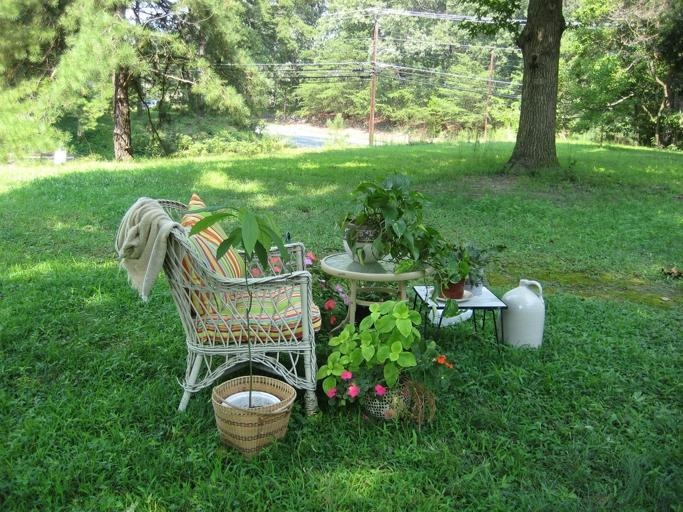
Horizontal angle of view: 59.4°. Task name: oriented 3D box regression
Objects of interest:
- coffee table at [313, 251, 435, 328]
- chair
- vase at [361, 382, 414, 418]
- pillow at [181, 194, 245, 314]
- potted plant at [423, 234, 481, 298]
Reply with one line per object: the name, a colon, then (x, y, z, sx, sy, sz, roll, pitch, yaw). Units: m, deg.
coffee table: (0.313, 0.375, 5.354, 0.764, 0.593, 0.825, 4, 10, 14)
chair: (-0.790, 0.499, 5.444, 1.440, 2.026, 1.471, -1, 10, -7)
vase: (0.366, 1.139, 4.758, 0.270, 0.189, 0.249, -3, -6, 5)
pillow: (-1.064, -0.047, 4.991, 0.465, 1.039, 0.566, 2, 10, -1)
potted plant: (0.984, 0.092, 5.308, 0.440, 0.539, 0.455, 2, 7, 14)
